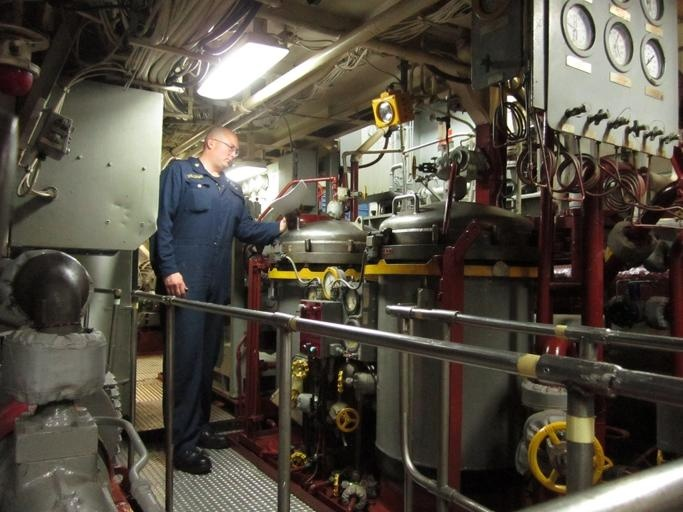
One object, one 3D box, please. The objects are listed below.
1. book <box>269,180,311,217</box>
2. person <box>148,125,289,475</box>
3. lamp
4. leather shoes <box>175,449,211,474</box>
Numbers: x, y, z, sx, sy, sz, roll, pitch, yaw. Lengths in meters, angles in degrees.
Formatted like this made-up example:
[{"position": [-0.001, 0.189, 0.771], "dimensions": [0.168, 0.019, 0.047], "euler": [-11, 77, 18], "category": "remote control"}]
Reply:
[{"position": [-0.374, -0.431, 4.408], "dimensions": [0.304, 0.109, 0.235], "euler": [-43, -4, 41], "category": "book"}, {"position": [-0.987, 0.248, 4.360], "dimensions": [0.546, 2.304, 0.847], "euler": [2, -2, 40], "category": "person"}, {"position": [-0.805, -1.474, 4.519], "dimensions": [0.418, 0.356, 0.978], "euler": [4, -1, -34], "category": "lamp"}, {"position": [-1.039, 1.423, 4.095], "dimensions": [0.312, 0.147, 0.114], "euler": [-3, -2, 37], "category": "leather shoes"}]
